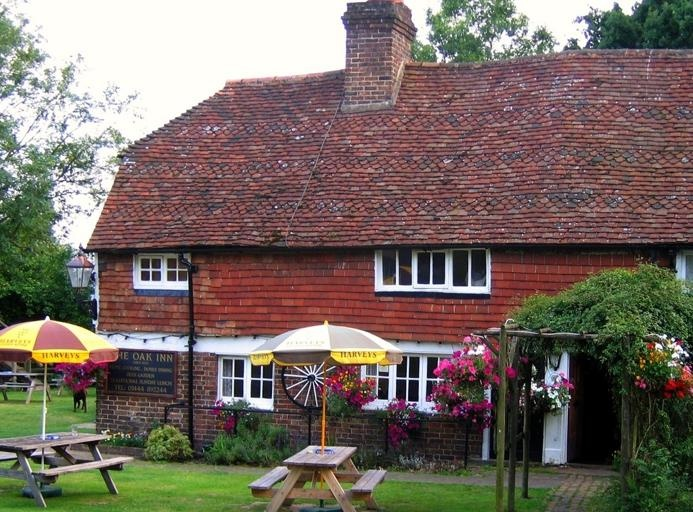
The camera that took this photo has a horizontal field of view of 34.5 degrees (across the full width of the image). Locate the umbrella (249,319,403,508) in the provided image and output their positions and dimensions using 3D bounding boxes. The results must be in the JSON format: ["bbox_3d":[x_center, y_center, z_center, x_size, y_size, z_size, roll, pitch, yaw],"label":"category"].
[{"bbox_3d":[-0.480,3.209,22.564,3.244,3.950,3.651,-1,-5,10],"label":"umbrella"}]

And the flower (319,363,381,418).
[{"bbox_3d":[0.050,3.200,26.350,1.188,1.224,0.858,13,34,5],"label":"flower"}]

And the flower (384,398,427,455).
[{"bbox_3d":[1.299,4.006,26.522,1.111,1.206,1.039,-3,22,0],"label":"flower"}]
